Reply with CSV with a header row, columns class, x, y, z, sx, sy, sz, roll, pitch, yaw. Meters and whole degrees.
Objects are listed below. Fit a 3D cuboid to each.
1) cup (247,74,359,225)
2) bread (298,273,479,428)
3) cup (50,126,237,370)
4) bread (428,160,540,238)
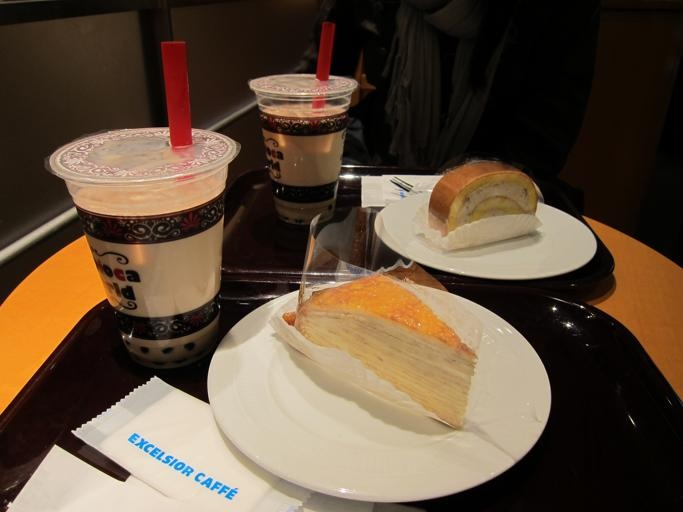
class,x,y,z,sx,sy,sz,roll,pitch,yaw
cup,-0.059,-0.310,1.394,0.318,0.387,0.324,3,33,-2
bread,0.057,0.131,0.887,0.403,0.139,0.084,22,19,41
cup,-0.331,-0.035,0.895,0.273,0.331,0.290,2,42,-2
bread,0.368,-0.155,1.303,0.272,0.162,0.102,-9,28,-18
